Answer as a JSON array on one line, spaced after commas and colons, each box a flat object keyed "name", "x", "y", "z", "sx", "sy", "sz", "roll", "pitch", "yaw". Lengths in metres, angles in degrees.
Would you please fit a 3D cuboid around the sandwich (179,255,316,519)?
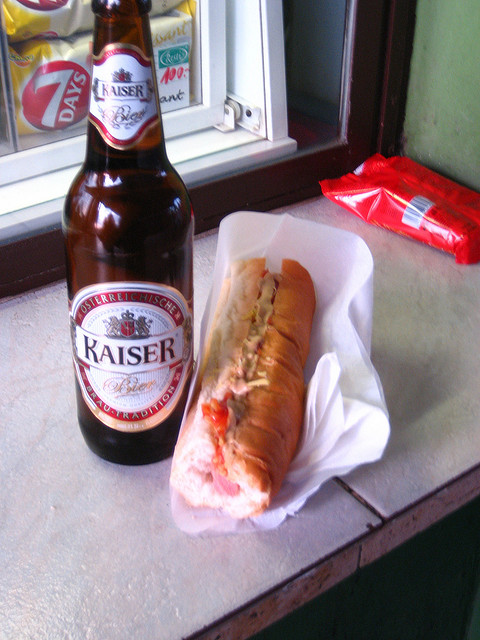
[{"name": "sandwich", "x": 0.013, "y": 0.045, "z": 0.431, "sx": 0.058, "sy": 0.069, "sz": 0.231, "roll": 11, "pitch": 43, "yaw": 9}]

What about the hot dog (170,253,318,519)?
[{"name": "hot dog", "x": 0.014, "y": 0.041, "z": 0.465, "sx": 0.073, "sy": 0.077, "sz": 0.243, "roll": 19, "pitch": 47, "yaw": 3}]
